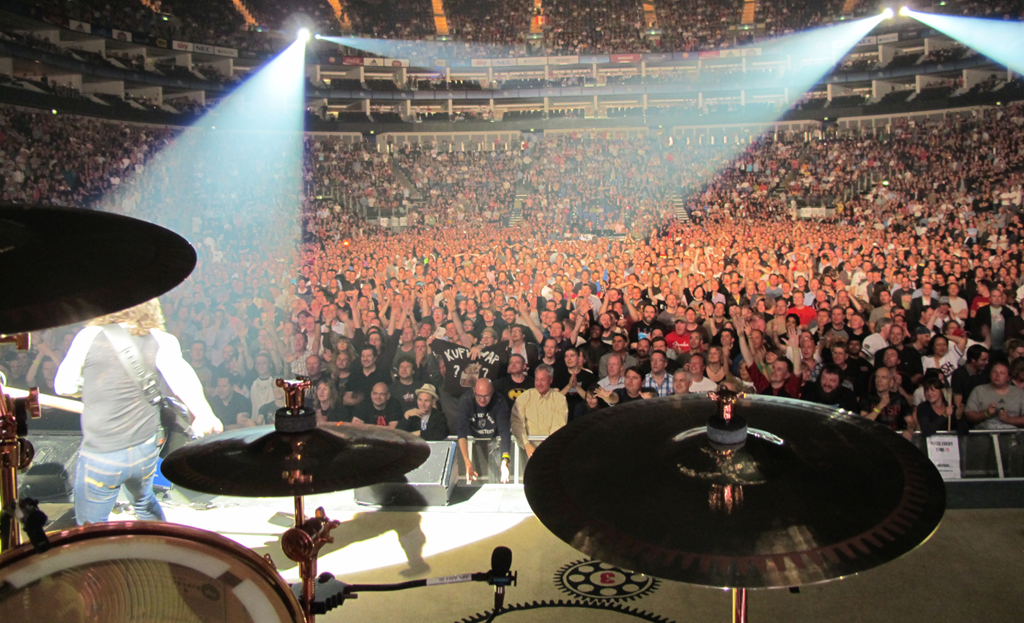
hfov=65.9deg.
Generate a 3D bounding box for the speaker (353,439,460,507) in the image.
[{"bbox_3d":[-1.500,2.367,11.212,1.328,0.474,1.354,0,8,6],"label":"speaker"}]

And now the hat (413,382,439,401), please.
[{"bbox_3d":[-1.289,1.230,11.989,0.351,0.275,0.595,-1,10,-6],"label":"hat"}]
